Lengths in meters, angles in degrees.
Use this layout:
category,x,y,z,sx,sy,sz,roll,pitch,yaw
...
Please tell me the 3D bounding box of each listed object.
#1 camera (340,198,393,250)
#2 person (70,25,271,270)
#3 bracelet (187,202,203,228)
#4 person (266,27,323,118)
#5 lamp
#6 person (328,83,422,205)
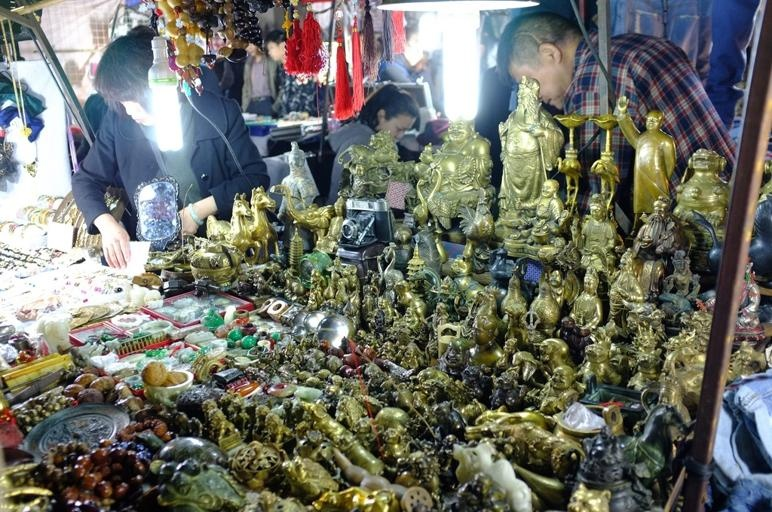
category,x,y,z,sx,sy,sz,roll,pitch,yaw
camera,-0.128,-0.193,3.286,0.326,0.306,0.258,-4,7,-24
person,-1.662,-0.764,4.195,1.354,1.573,0.823,5,13,16
bracelet,-1.393,-0.300,4.249,0.054,0.126,0.149,-35,57,-20
person,-1.040,-2.049,6.564,0.632,0.944,0.515,2,13,-1
lamp,-1.233,-0.909,3.269,0.147,0.595,0.319,-3,13,-20
person,-0.100,-1.000,5.112,0.796,0.990,0.443,1,13,-5
